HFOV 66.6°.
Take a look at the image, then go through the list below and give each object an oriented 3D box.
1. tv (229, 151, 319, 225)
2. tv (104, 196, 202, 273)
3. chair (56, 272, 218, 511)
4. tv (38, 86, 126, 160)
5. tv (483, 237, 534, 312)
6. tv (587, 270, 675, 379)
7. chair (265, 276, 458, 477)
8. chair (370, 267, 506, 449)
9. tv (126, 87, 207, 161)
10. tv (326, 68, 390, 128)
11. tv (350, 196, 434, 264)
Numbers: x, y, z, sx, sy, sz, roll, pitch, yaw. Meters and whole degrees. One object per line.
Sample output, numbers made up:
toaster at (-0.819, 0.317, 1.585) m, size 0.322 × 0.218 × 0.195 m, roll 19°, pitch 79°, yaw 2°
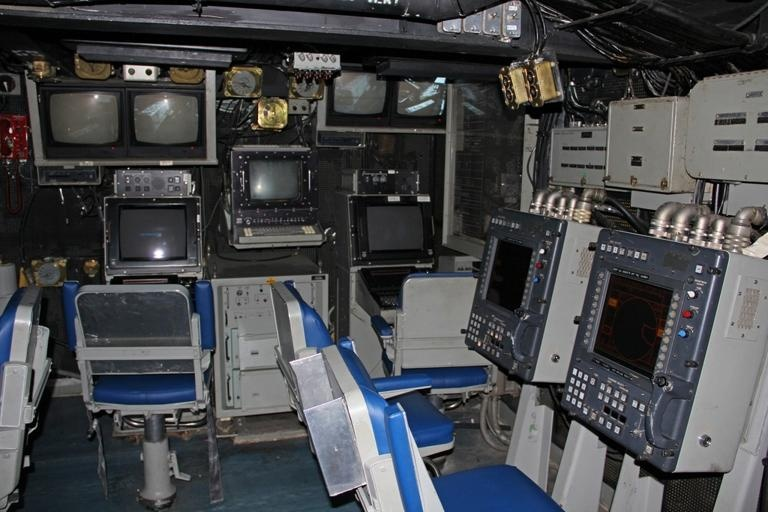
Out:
tv at (-1.044, -0.639, 5.642) m, size 0.788 × 0.742 × 0.434 m, roll -1°, pitch -12°, yaw -11°
tv at (-2.020, -0.163, 5.234) m, size 0.792 × 0.724 × 0.535 m, roll -1°, pitch 0°, yaw -11°
chair at (-1.597, 0.982, 4.048) m, size 0.938 × 1.732 × 0.613 m, roll -7°, pitch 7°, yaw -10°
tv at (-2.549, -1.109, 5.114) m, size 0.688 × 0.618 × 0.375 m, roll -2°, pitch -4°, yaw -5°
tv at (0.839, 0.131, 3.950) m, size 0.183 × 0.449 × 0.368 m, roll -9°, pitch 8°, yaw -21°
tv at (1.359, 0.381, 3.182) m, size 0.032 × 0.650 × 0.498 m, roll 14°, pitch 5°, yaw -30°
chair at (-0.257, 0.650, 3.871) m, size 1.259 × 1.529 × 1.151 m, roll -4°, pitch 14°, yaw -17°
chair at (0.381, 0.679, 4.419) m, size 1.066 × 1.041 × 0.985 m, roll -1°, pitch 10°, yaw -7°
tv at (-1.810, -1.148, 5.293) m, size 0.876 × 0.816 × 0.478 m, roll -1°, pitch 9°, yaw -10°
tv at (-0.289, -1.470, 5.874) m, size 0.739 × 0.648 × 0.406 m, roll -3°, pitch 35°, yaw -6°
tv at (-0.016, -0.178, 5.772) m, size 1.016 × 0.841 × 0.584 m, roll 0°, pitch -8°, yaw -13°
